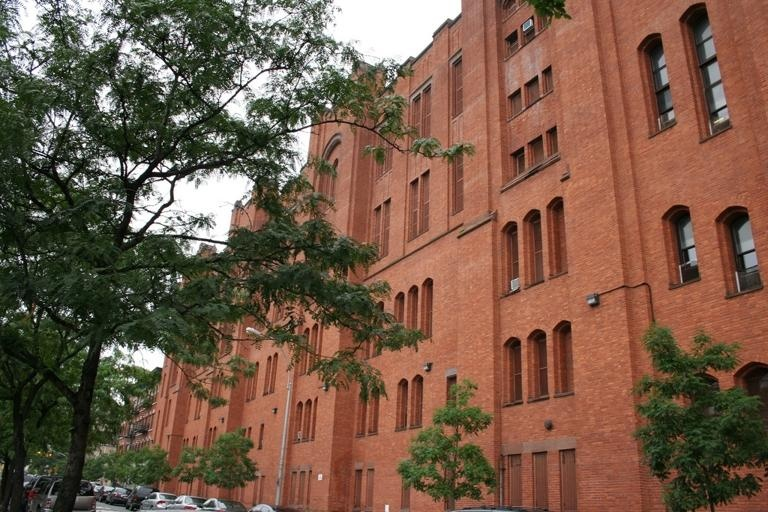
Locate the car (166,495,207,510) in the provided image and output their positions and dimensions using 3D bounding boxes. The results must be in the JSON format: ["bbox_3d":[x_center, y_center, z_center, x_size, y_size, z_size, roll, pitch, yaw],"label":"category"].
[{"bbox_3d":[-10.959,13.932,34.213,1.364,0.867,2.706,19,-32,-37],"label":"car"}]
